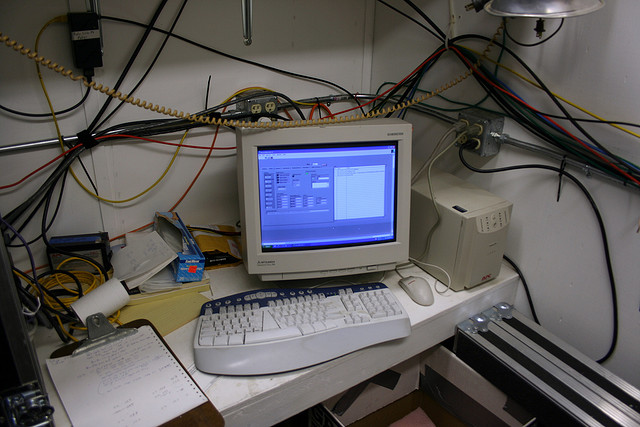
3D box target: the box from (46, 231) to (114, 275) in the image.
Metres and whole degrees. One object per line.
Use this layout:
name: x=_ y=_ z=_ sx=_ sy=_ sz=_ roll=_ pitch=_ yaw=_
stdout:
box: x=-0.917 y=0.167 z=1.833 sx=0.240 sy=0.137 sz=0.167 roll=-6 pitch=-21 yaw=-7

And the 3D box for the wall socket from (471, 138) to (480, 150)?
wall socket: x=0.601 y=-0.274 z=1.829 sx=0.008 sy=0.035 sz=0.035 roll=0 pitch=43 yaw=-19

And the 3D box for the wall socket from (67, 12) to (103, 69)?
wall socket: x=-0.826 y=-0.608 z=1.659 sx=0.106 sy=0.180 sz=0.031 roll=-13 pitch=21 yaw=-22

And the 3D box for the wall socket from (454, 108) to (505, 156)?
wall socket: x=0.618 y=-0.329 z=1.875 sx=0.097 sy=0.153 sz=0.162 roll=-22 pitch=36 yaw=-27

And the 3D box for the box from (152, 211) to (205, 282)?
box: x=-0.561 y=0.120 z=1.840 sx=0.120 sy=0.212 sz=0.311 roll=-17 pitch=23 yaw=-30

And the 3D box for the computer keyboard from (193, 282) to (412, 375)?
computer keyboard: x=-0.066 y=0.384 z=1.645 sx=0.726 sy=0.133 sz=0.351 roll=-6 pitch=19 yaw=-13
